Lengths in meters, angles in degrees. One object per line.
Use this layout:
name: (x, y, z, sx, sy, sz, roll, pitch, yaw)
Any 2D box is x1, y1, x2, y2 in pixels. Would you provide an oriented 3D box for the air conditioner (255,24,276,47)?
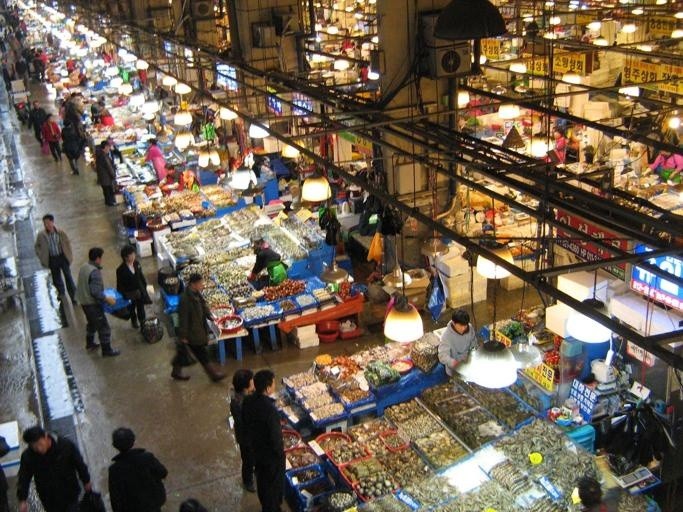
air conditioner: (-1.755, -5.202, 14.182, 0.581, 0.609, 0.460, 1, 33, -3)

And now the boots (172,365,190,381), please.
boots: (-2.653, 1.962, 10.037, 0.379, 0.288, 0.150, -5, 19, -17)

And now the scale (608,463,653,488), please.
scale: (3.601, 2.714, 7.307, 0.573, 0.148, 0.208, -11, 24, -13)
